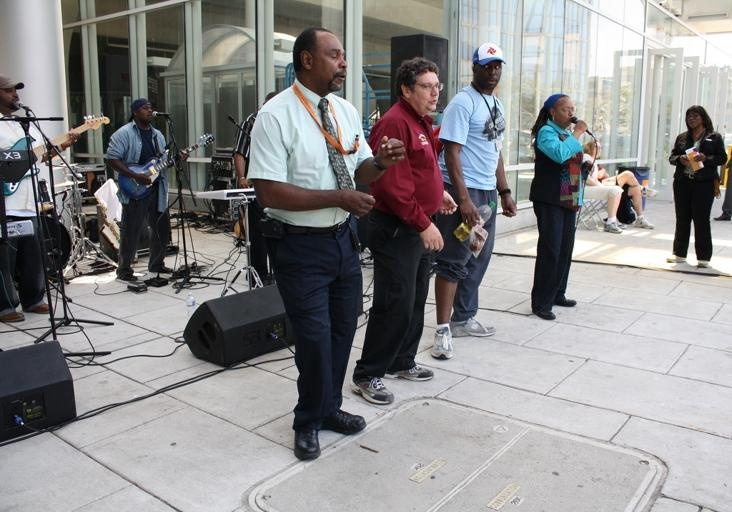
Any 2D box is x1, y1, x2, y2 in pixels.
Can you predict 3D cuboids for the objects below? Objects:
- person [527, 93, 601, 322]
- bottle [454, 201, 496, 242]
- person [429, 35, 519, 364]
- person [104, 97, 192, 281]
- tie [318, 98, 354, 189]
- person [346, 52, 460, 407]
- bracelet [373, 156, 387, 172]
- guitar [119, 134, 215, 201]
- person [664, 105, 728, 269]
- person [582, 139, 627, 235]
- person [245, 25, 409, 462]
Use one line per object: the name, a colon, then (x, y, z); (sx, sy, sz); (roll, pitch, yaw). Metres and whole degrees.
person: (1.747, -0.431, 5.077); (0.468, 2.056, 0.366); (4, 15, 16)
bottle: (0.843, -0.279, 4.284); (0.132, 0.307, 0.138); (7, 62, -14)
person: (0.855, -0.494, 4.488); (0.556, 2.445, 1.074); (6, 10, 36)
person: (-2.563, -0.765, 6.388); (0.626, 2.090, 0.869); (9, 10, 32)
tie: (-0.168, -0.593, 3.029); (0.031, 0.641, 0.147); (-6, -23, -32)
person: (0.349, -0.190, 3.794); (0.643, 2.214, 0.921); (5, 12, 20)
bracelet: (0.081, -0.521, 3.067); (0.072, 0.026, 0.071); (41, -6, 10)
guitar: (-2.607, -1.211, 7.341); (1.730, 0.619, 0.232); (-35, 23, -27)
person: (4.153, -0.872, 6.931); (0.563, 1.987, 0.598); (-3, 15, -12)
person: (4.193, -1.258, 9.608); (0.654, 1.540, 0.860); (-5, 8, -44)
person: (-0.147, -0.045, 3.134); (0.822, 2.322, 0.949); (5, 9, 38)
